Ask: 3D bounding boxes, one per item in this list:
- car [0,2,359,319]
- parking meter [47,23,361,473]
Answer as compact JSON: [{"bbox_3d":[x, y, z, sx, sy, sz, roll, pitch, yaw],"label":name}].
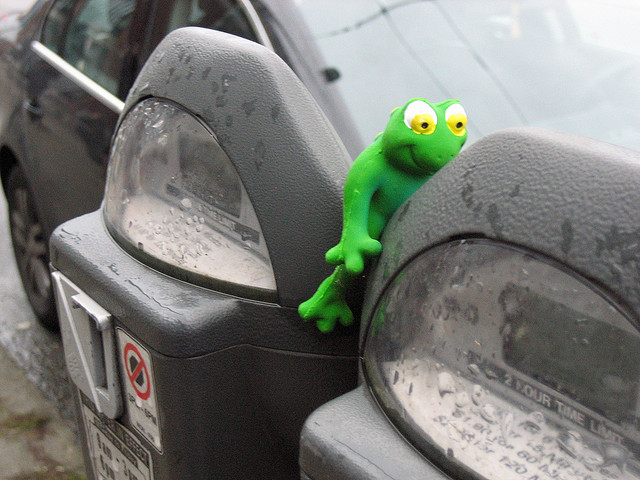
[{"bbox_3d":[-0.738,-0.434,2.747,0.969,0.866,1.635,-26,39,-34],"label":"car"},{"bbox_3d":[-0.307,0.163,1.695,0.857,1.243,0.494,30,38,33],"label":"parking meter"}]
